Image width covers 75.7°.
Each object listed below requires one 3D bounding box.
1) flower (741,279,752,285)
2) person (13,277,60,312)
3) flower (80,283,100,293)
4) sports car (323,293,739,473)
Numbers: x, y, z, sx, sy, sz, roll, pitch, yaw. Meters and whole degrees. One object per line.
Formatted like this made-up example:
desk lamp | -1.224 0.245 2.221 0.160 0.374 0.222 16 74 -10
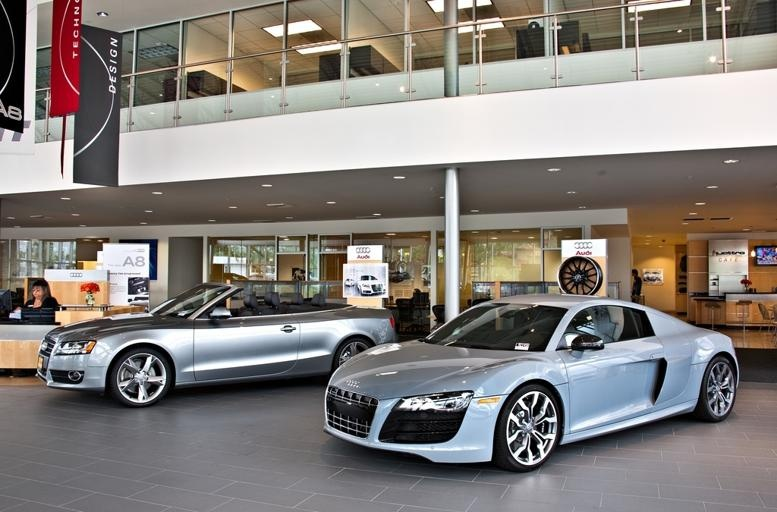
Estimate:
flower | 14.067 1.048 19.686 0.302 0.194 0.301 -2 0 36
person | -6.843 0.811 9.906 0.778 0.574 0.371 -2 -9 14
flower | -6.385 0.691 10.784 0.281 0.115 0.268 4 5 9
sports car | 1.707 1.400 5.807 3.849 1.020 2.083 2 -4 -28
